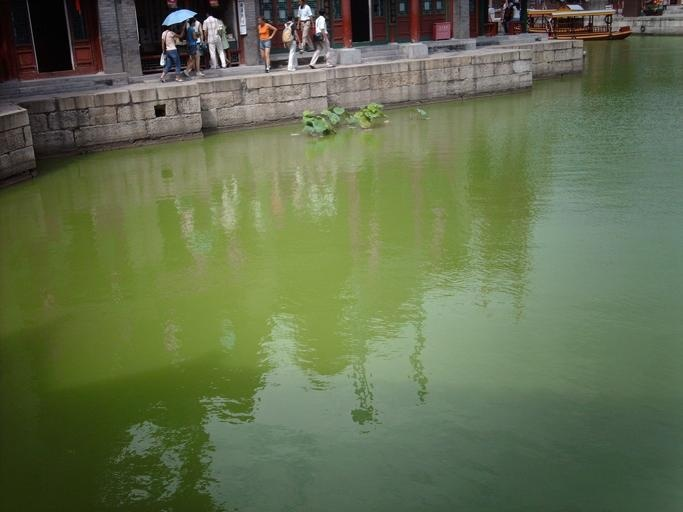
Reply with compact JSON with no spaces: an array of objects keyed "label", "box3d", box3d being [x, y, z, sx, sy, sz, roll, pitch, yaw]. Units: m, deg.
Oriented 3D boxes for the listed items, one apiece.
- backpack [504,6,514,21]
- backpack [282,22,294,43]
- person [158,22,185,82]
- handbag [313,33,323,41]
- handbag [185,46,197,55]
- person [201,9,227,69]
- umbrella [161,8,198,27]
[{"label":"backpack","box3d":[8.301,-12.032,29.962,0.358,0.722,0.971,-1,18,10]},{"label":"backpack","box3d":[-1.663,-7.060,19.086,0.330,0.628,0.793,-5,17,-3]},{"label":"person","box3d":[-5.256,-6.104,18.452,0.719,1.499,2.440,-8,18,-13]},{"label":"handbag","box3d":[-0.742,-6.982,19.373,0.178,0.271,0.251,6,8,1]},{"label":"handbag","box3d":[-4.617,-6.378,18.806,0.223,0.336,0.686,-10,19,-20]},{"label":"person","box3d":[-4.257,-7.149,20.269,0.675,1.666,1.435,-7,17,-9]},{"label":"umbrella","box3d":[-4.556,-6.757,17.065,0.771,0.414,1.161,-7,18,-8]}]
